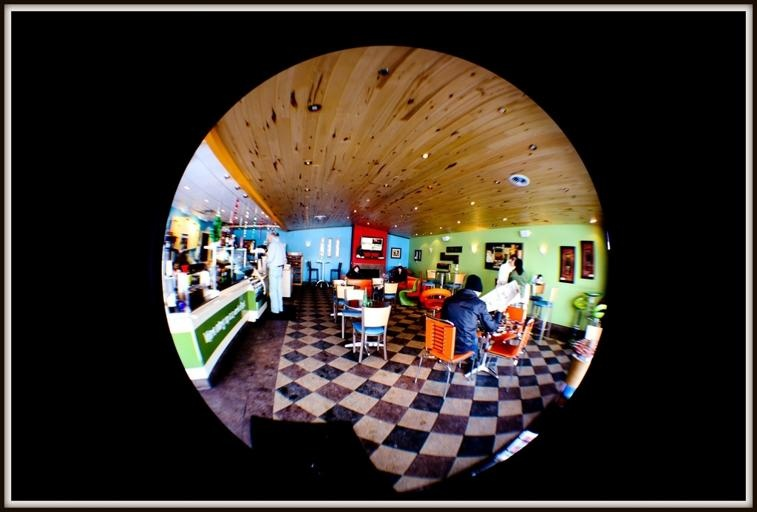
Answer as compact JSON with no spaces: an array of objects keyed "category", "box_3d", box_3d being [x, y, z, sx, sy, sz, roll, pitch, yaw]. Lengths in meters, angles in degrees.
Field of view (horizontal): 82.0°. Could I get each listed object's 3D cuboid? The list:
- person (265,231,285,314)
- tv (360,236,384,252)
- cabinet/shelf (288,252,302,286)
[{"category":"person","box_3d":[-1.359,0.264,5.713,0.208,1.125,0.310,0,14,-13]},{"category":"tv","box_3d":[-0.153,-0.230,9.742,0.728,0.372,0.083,-10,19,-44]},{"category":"cabinet/shelf","box_3d":[-1.854,0.322,9.557,0.324,0.631,0.833,0,13,-10]}]
